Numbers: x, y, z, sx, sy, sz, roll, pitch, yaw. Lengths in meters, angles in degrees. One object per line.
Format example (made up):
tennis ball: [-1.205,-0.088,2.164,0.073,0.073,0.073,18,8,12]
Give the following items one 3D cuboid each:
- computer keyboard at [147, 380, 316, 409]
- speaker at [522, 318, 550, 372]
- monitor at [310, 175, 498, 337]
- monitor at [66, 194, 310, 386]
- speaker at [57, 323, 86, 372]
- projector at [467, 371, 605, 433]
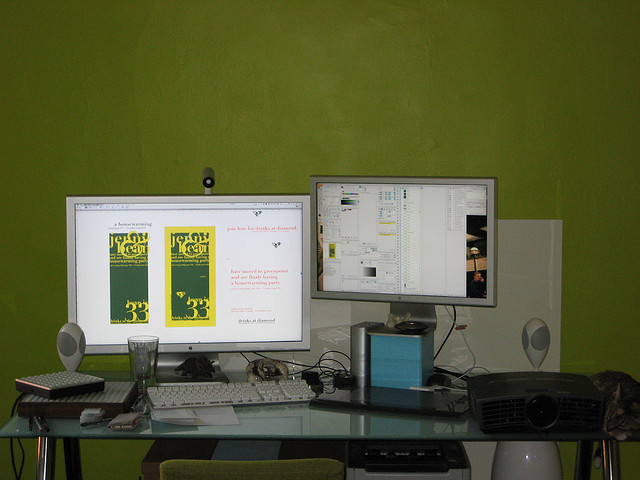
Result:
computer keyboard: [-0.284,0.505,2.085,0.519,0.052,0.158,0,6,-15]
speaker: [0.768,0.390,2.224,0.081,0.158,0.080,5,-5,7]
monitor: [0.310,0.012,2.243,0.674,0.555,0.117,5,6,21]
monitor: [-0.475,0.157,2.241,0.848,0.664,0.101,0,-1,-3]
speaker: [-0.875,0.375,2.223,0.101,0.187,0.099,-3,7,-21]
projector: [0.664,0.490,1.942,0.367,0.117,0.267,-4,5,5]
